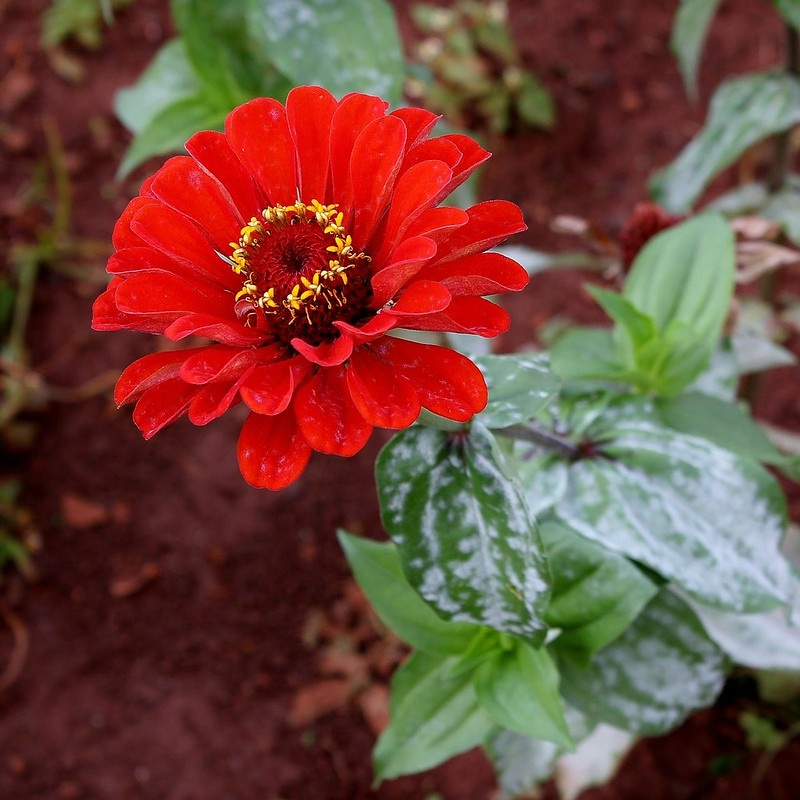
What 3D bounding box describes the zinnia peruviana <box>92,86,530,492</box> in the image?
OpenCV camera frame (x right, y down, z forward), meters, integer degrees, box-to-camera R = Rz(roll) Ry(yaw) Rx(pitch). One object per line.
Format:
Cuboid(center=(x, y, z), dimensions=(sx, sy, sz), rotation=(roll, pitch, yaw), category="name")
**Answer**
Cuboid(center=(-0.101, -0.134, 0.969), dimensions=(0.475, 0.204, 0.470), rotation=(27, 85, 0), category="zinnia peruviana")
